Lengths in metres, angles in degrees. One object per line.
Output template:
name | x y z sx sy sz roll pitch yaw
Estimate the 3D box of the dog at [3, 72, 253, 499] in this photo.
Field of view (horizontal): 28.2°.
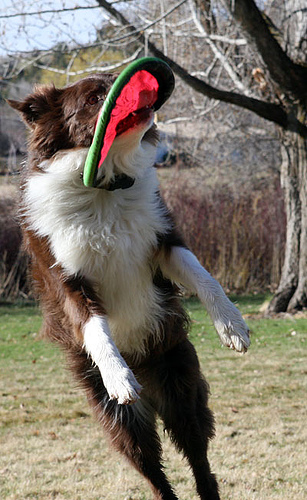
dog | -0.210 0.277 3.722 1.452 2.725 1.011 1 4 7
